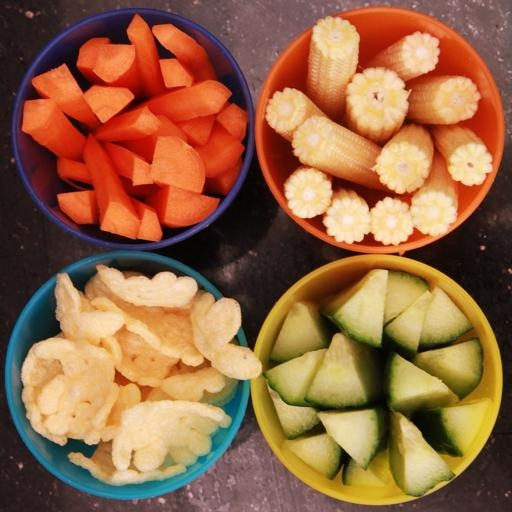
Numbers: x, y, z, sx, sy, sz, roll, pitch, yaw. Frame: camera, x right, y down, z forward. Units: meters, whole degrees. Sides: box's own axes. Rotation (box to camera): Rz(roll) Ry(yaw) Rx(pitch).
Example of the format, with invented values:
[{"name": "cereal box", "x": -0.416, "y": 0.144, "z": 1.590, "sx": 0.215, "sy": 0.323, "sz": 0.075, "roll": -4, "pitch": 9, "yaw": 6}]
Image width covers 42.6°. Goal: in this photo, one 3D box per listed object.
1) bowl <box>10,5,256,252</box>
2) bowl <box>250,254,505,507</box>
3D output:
[{"name": "bowl", "x": -0.258, "y": -0.179, "z": 1.114, "sx": 0.359, "sy": 0.180, "sz": 0.445, "roll": 1, "pitch": 98, "yaw": -3}, {"name": "bowl", "x": 0.209, "y": 0.191, "z": 1.128, "sx": 0.391, "sy": 0.179, "sz": 0.482, "roll": 2, "pitch": 90, "yaw": 7}]
